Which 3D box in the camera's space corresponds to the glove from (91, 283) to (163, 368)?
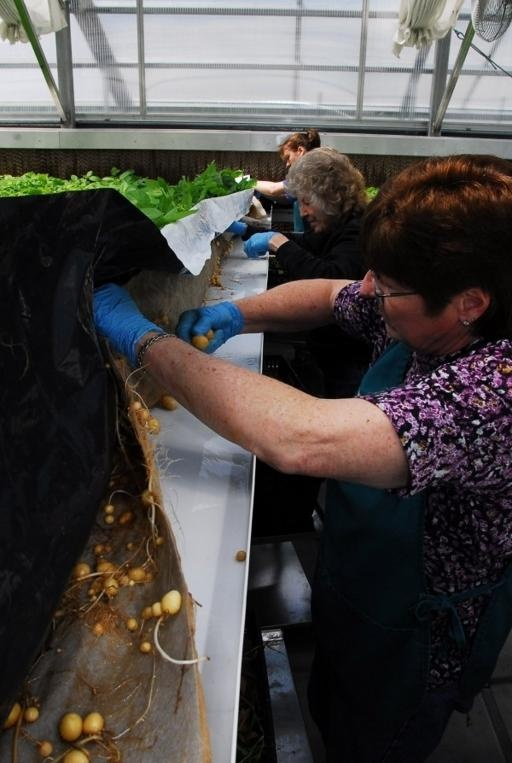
[{"bbox_3d":[-0.192,-0.109,0.886,0.103,0.159,0.061,15,80,-9],"label":"glove"}]
